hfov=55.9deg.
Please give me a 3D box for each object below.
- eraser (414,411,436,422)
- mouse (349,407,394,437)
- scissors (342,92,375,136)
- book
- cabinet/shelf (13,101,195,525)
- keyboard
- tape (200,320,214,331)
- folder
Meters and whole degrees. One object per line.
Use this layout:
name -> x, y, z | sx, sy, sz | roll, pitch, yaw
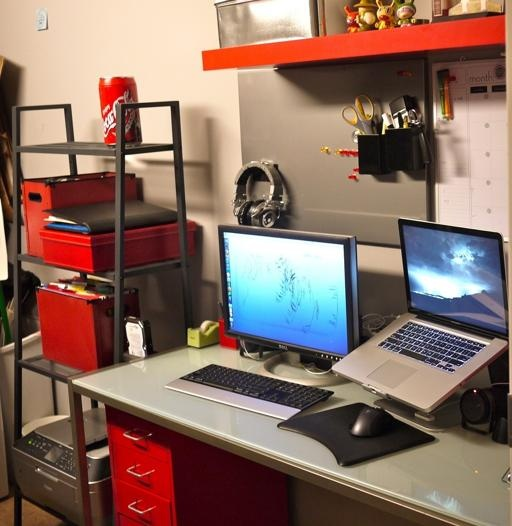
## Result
eraser -> 0.369, 0.338, 1.052 | 0.022, 0.011, 0.045 | -16, 13, -37
mouse -> 0.236, 0.329, 0.987 | 0.068, 0.031, 0.074 | 9, 14, 38
scissors -> 0.304, -0.442, 1.442 | 0.063, 0.131, 0.140 | -5, 4, -26
book -> -0.576, -0.231, 1.930 | 0.397, 0.159, 0.470 | -12, 14, -43
cabinet/shelf -> -0.511, 0.308, 2.105 | 0.516, 1.882, 0.815 | -13, 17, -39
keyboard -> 0.010, 0.334, 1.283 | 0.388, 0.029, 0.180 | 4, 7, 31
tape -> -0.174, 0.226, 1.747 | 0.017, 0.056, 0.055 | 7, 16, 28
folder -> -0.599, -0.260, 1.966 | 0.534, 0.134, 0.382 | -14, 22, -41
